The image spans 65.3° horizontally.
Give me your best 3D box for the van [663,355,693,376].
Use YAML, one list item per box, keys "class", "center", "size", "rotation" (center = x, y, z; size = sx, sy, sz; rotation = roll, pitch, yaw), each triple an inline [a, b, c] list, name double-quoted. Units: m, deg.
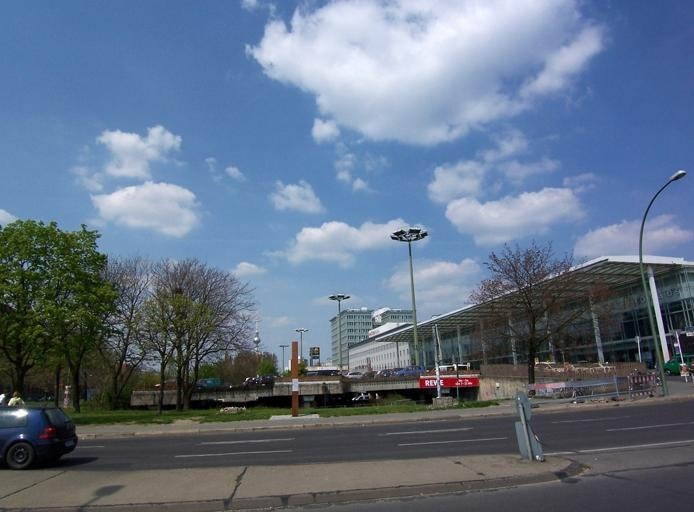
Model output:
- class: "van"
  center: [27.614, 9.279, 45.737]
  size: [3.040, 1.646, 1.575]
  rotation: [0, -9, 29]
